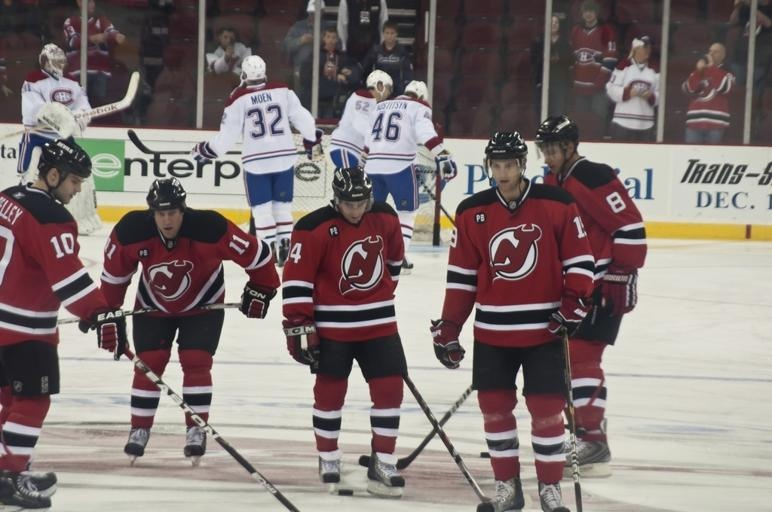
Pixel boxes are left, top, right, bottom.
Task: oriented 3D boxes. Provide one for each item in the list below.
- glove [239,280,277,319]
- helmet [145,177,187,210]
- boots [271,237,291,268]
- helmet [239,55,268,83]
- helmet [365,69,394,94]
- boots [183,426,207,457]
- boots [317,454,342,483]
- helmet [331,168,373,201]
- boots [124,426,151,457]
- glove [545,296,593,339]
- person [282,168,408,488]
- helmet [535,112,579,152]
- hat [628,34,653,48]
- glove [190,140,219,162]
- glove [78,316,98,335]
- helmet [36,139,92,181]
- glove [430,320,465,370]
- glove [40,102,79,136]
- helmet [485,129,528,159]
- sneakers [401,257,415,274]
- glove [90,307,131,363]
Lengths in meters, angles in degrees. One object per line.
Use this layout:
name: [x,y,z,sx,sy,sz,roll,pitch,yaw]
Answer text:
glove: [-0.868,0.295,8.635,0.254,0.236,0.106,21,-4,-7]
helmet: [-1.439,-0.413,8.403,0.211,0.177,0.242,-4,16,-1]
boots: [-0.925,-0.049,11.385,0.152,0.172,0.418,4,29,-4]
helmet: [-1.272,-1.831,12.556,0.308,0.322,0.365,-3,15,-15]
helmet: [-0.070,-1.801,13.050,0.276,0.225,0.204,-4,11,-12]
boots: [-1.276,1.239,8.646,0.145,0.209,0.246,1,6,-8]
boots: [-0.373,1.385,8.397,0.176,0.146,0.280,2,17,-5]
helmet: [-0.214,-0.470,8.353,0.250,0.213,0.181,2,7,-3]
boots: [-1.654,1.246,8.587,0.134,0.169,0.097,31,-39,-24]
glove: [1.153,0.386,8.105,0.210,0.278,0.120,42,9,12]
person: [-0.260,0.470,8.377,0.837,2.090,0.578,2,7,-5]
helmet: [1.161,-0.857,8.673,0.266,0.223,0.214,3,1,-8]
hat: [3.081,-2.625,15.609,0.166,0.116,0.213,-8,4,-7]
glove: [-1.785,-1.011,12.596,0.263,0.195,0.579,6,0,-21]
glove: [-1.915,0.444,8.253,0.116,0.119,0.142,1,-13,-7]
helmet: [-2.084,-0.628,8.320,0.322,0.270,0.256,-3,12,-12]
glove: [0.413,0.568,8.335,0.213,0.312,0.147,-14,6,4]
glove: [-2.404,-1.011,9.511,0.251,0.127,0.318,32,-4,7]
helmet: [0.781,-0.697,8.221,0.186,0.181,0.220,1,-14,16]
sneakers: [0.215,0.097,12.368,0.173,0.186,0.472,-2,-3,1]
glove: [-1.761,0.514,8.302,0.285,0.288,0.142,4,5,-13]
